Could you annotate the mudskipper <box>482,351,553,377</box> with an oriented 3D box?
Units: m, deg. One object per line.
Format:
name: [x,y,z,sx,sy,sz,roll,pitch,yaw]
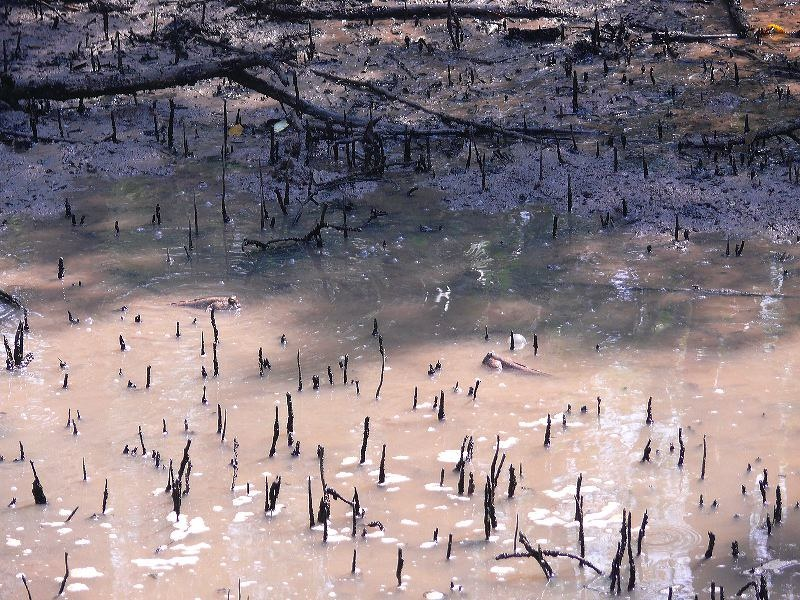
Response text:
mudskipper: [1.300,0.681,14.707,0.845,0.227,0.239,15,3,6]
